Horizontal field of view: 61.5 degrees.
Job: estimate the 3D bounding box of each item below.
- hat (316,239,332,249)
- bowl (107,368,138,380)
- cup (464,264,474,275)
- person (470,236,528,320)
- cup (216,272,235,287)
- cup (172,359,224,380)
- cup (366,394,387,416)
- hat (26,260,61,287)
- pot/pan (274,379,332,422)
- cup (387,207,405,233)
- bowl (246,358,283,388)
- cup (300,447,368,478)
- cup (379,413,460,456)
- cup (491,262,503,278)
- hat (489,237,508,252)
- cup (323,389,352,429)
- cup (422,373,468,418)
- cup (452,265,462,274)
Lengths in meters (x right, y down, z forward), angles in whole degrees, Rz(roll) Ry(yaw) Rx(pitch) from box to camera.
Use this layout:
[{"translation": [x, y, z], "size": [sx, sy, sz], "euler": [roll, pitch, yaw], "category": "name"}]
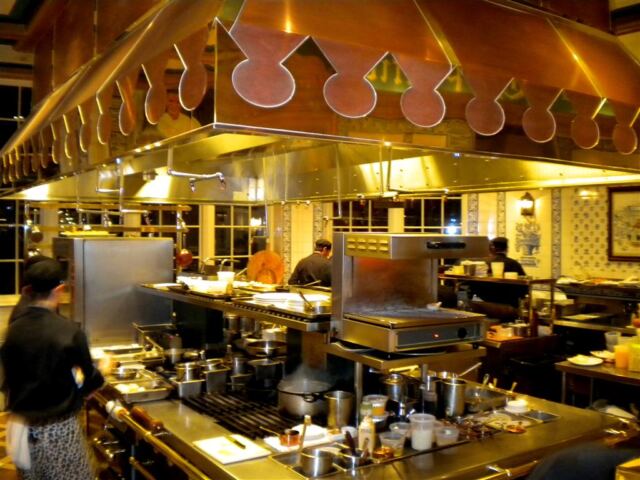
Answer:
[{"translation": [0.054, 0.043, 7.324], "size": [0.185, 0.110, 0.130], "euler": [-2, 1, 17], "category": "hat"}, {"translation": [-1.377, 0.955, 3.855], "size": [0.172, 0.047, 0.196], "euler": [-4, 7, -32], "category": "bowl"}, {"translation": [1.774, 0.344, 6.375], "size": [0.145, 0.124, 0.135], "euler": [2, -2, 0], "category": "cup"}, {"translation": [2.180, 0.440, 6.310], "size": [0.726, 0.890, 0.800], "euler": [6, 9, 43], "category": "person"}, {"translation": [-0.714, 0.287, 4.123], "size": [0.128, 0.068, 0.109], "euler": [2, -8, -11], "category": "cup"}, {"translation": [-0.815, 0.880, 3.727], "size": [0.330, 0.102, 0.281], "euler": [-2, 6, -17], "category": "cup"}, {"translation": [0.306, 0.893, 2.942], "size": [0.143, 0.069, 0.121], "euler": [1, -7, -7], "category": "cup"}, {"translation": [-1.746, 0.207, 3.415], "size": [0.214, 0.121, 0.183], "euler": [5, -4, 2], "category": "hat"}, {"translation": [-0.095, 0.920, 3.225], "size": [0.309, 0.154, 0.423], "euler": [0, 6, -3], "category": "pot/pan"}, {"translation": [1.344, -0.367, 9.445], "size": [0.292, 0.404, 0.403], "euler": [1, 6, 7], "category": "cup"}, {"translation": [-0.368, 0.895, 3.622], "size": [0.297, 0.166, 0.250], "euler": [-2, 4, -1], "category": "bowl"}, {"translation": [0.051, 1.046, 2.530], "size": [0.221, 0.053, 0.126], "euler": [1, -1, -11], "category": "cup"}, {"translation": [0.499, 0.988, 2.805], "size": [0.225, 0.090, 0.268], "euler": [0, 1, -4], "category": "cup"}, {"translation": [2.021, 0.342, 6.201], "size": [0.204, 0.173, 0.176], "euler": [0, -4, 9], "category": "cup"}, {"translation": [2.227, 0.047, 6.733], "size": [0.263, 0.180, 0.228], "euler": [0, 3, 13], "category": "hat"}, {"translation": [0.062, 0.931, 2.960], "size": [0.209, 0.155, 0.180], "euler": [0, -3, -2], "category": "cup"}, {"translation": [0.722, 0.902, 3.113], "size": [0.335, 0.175, 0.185], "euler": [-1, -2, 27], "category": "cup"}, {"translation": [1.678, 0.357, 6.541], "size": [0.142, 0.105, 0.101], "euler": [2, 4, 34], "category": "cup"}]
